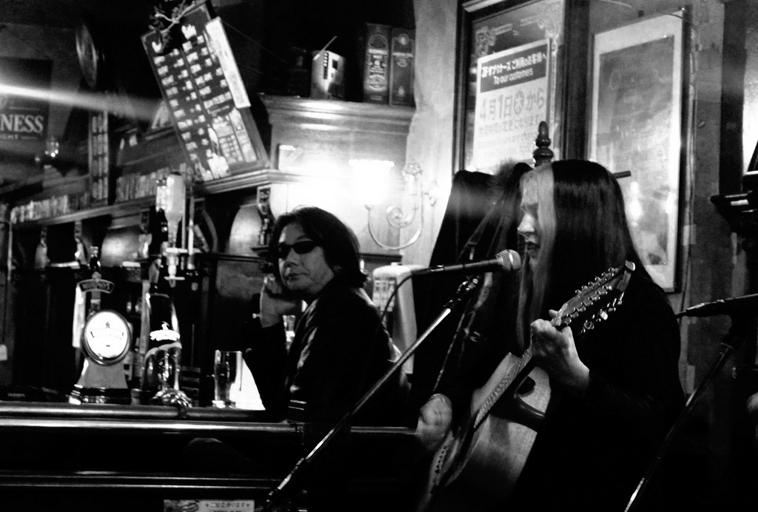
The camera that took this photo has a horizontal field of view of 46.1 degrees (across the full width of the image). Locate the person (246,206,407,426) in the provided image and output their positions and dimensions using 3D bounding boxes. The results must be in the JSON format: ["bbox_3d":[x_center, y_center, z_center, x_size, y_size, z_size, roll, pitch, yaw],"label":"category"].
[{"bbox_3d":[-0.317,0.416,5.796,0.913,2.138,0.655,4,-27,-7],"label":"person"}]

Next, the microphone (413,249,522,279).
[{"bbox_3d":[0.505,0.041,4.961,0.562,0.106,0.105,-7,45,2],"label":"microphone"}]
